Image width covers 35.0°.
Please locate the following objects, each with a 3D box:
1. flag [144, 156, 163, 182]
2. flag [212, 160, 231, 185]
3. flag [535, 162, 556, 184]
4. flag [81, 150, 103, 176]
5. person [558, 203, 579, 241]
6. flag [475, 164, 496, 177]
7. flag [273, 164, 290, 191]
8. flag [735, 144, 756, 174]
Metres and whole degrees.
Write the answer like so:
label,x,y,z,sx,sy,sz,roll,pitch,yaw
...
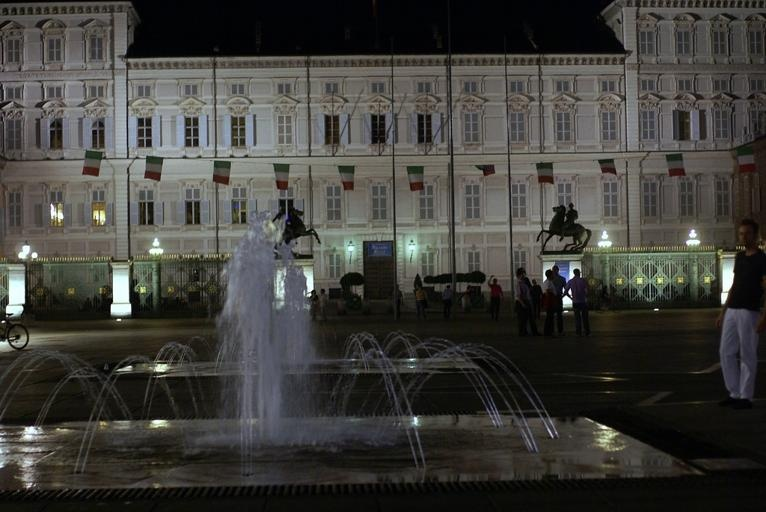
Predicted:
label,x,y,z,sx,sy,sz,roll,pitch,yaw
flag,-13.917,-5.333,73.927,0.942,1.674,1.614,-4,15,-7
flag,-9.918,-5.101,74.796,1.060,1.436,1.108,-5,15,-12
flag,10.326,-5.318,77.317,1.906,1.820,0.086,-3,1,-25
flag,-17.798,-5.694,74.543,1.113,1.673,1.610,-5,15,-13
person,11.086,-2.013,71.974,1.106,2.127,1.544,-10,17,-28
flag,6.596,-5.500,77.620,1.389,0.814,0.104,-1,7,-13
flag,-6.390,-5.067,76.594,0.794,1.636,1.241,-4,15,-6
flag,22.180,-5.916,74.322,0.871,1.698,1.376,5,16,25
